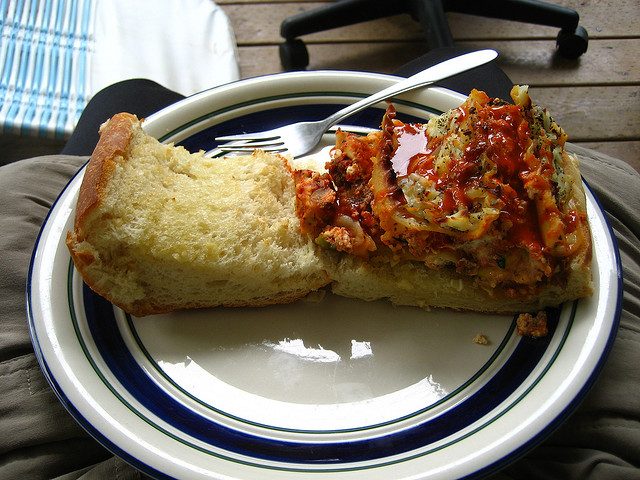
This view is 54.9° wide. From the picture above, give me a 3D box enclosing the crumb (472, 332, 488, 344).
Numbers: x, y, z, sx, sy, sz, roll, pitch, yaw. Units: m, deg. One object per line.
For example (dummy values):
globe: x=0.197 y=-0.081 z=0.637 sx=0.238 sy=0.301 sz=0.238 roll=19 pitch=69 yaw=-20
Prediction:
crumb: x=0.660 y=0.409 z=2.525 sx=0.041 sy=0.013 sz=0.040 roll=-39 pitch=71 yaw=-22
